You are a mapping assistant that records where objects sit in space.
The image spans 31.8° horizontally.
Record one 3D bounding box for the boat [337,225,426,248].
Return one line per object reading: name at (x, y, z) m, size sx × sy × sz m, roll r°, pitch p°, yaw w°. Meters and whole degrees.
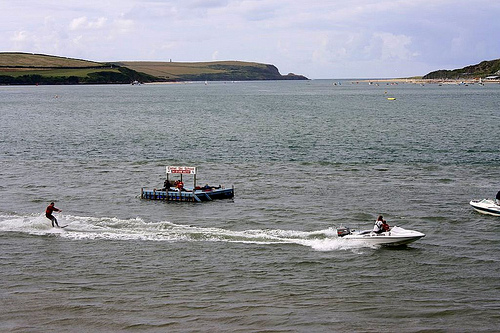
boat at (13.313, 6.979, 86.954) m, size 8.056 × 1.903 × 2.945 m, roll 2°, pitch 6°, yaw 7°
